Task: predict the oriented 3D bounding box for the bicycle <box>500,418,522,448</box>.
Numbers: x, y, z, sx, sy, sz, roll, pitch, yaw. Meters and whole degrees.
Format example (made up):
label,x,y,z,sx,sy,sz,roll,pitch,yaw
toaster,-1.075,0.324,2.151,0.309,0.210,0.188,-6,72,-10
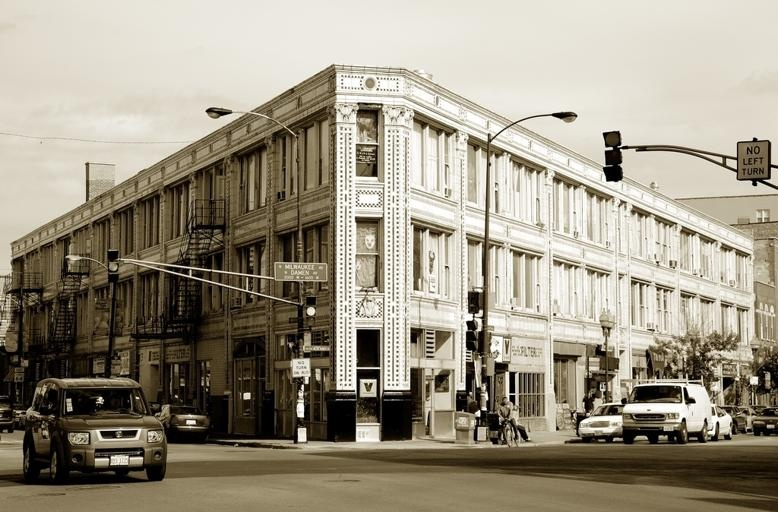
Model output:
label,x,y,z,sx,sy,sz,roll,pitch,yaw
bicycle,5.944,8.713,70.960,0.935,1.391,1.995,0,-14,5
